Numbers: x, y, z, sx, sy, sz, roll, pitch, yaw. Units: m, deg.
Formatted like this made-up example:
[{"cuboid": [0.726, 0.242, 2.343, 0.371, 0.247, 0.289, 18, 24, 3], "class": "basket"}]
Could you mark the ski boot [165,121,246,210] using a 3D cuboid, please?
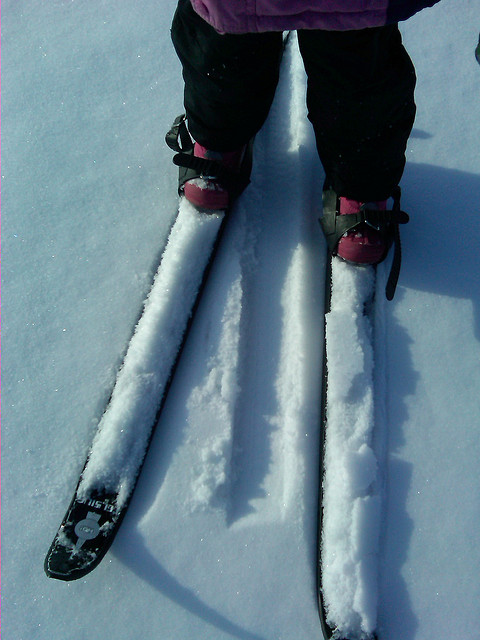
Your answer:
[{"cuboid": [-0.109, -0.394, 1.938, 0.184, 0.116, 0.287, 20, 76, -11], "class": "ski boot"}]

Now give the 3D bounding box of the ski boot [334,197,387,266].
[{"cuboid": [0.323, -0.226, 1.885, 0.134, 0.164, 0.193, 4, 71, 0], "class": "ski boot"}]

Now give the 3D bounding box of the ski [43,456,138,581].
[{"cuboid": [-0.346, 0.445, 1.565, 0.128, 0.480, 0.081, 20, 31, -13], "class": "ski"}]
